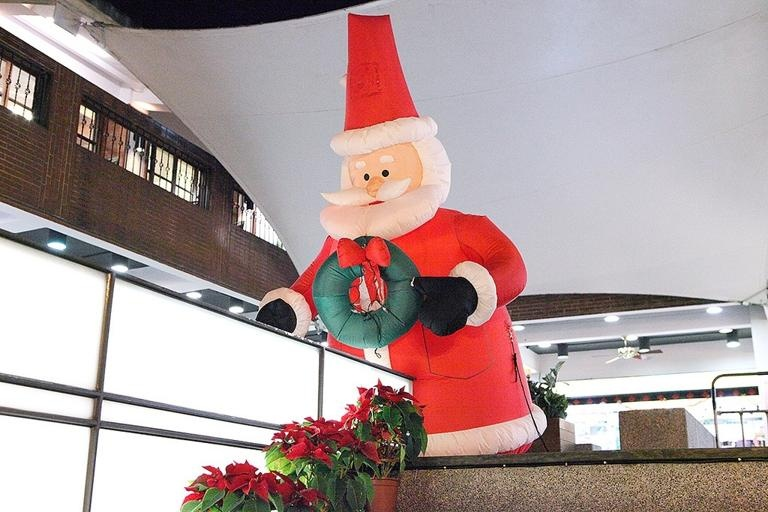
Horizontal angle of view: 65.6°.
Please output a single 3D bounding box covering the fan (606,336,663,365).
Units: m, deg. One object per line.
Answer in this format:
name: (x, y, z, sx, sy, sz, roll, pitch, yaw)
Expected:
fan: (4.888, 1.847, 11.656, 0.850, 0.350, 0.845, 0, -9, -1)
